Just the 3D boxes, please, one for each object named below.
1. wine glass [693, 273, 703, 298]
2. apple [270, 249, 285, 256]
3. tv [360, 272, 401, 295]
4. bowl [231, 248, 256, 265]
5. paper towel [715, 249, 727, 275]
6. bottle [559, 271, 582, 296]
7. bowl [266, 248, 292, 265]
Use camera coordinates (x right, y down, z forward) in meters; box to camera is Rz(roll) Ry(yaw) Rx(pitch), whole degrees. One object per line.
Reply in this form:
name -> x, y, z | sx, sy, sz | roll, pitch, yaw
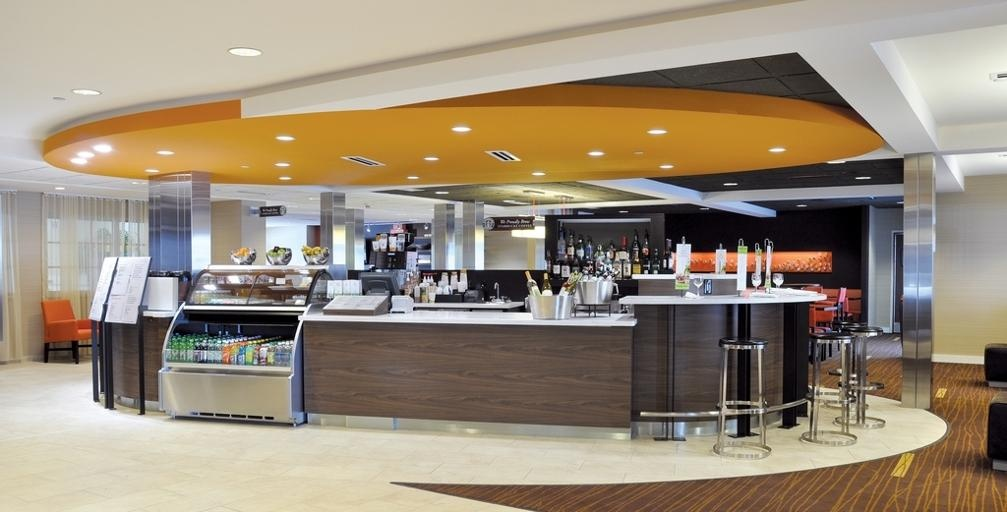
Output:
wine glass -> 2.919, 0.446, 9.223 | 0.159, 0.266, 0.272 | 3, 15, 16
apple -> -3.984, -0.056, 10.842 | 0.189, 0.085, 0.164 | -1, 2, 1
tv -> -2.217, 0.501, 10.892 | 0.703, 0.358, 0.493 | -1, 13, 1
bowl -> -4.721, 0.018, 11.213 | 0.561, 0.223, 0.476 | 0, -3, -4
paper towel -> 3.405, 0.082, 9.600 | 0.128, 0.432, 0.397 | 3, 15, 16
bottle -> 1.050, 0.429, 9.368 | 0.299, 0.409, 0.136 | 28, -14, -4
bowl -> -3.961, 0.013, 10.924 | 0.435, 0.202, 0.368 | 1, -3, -1
